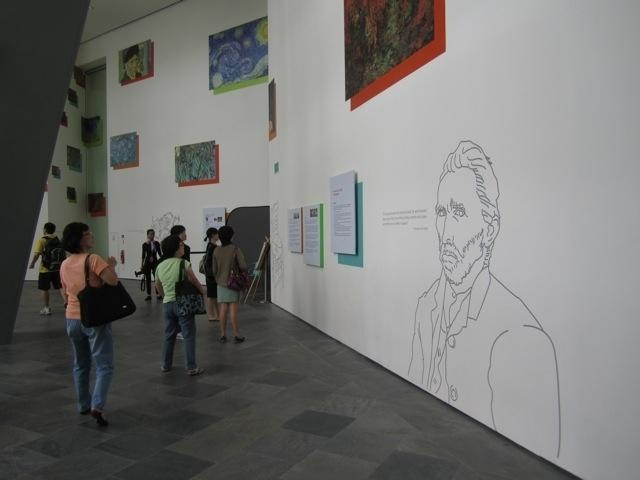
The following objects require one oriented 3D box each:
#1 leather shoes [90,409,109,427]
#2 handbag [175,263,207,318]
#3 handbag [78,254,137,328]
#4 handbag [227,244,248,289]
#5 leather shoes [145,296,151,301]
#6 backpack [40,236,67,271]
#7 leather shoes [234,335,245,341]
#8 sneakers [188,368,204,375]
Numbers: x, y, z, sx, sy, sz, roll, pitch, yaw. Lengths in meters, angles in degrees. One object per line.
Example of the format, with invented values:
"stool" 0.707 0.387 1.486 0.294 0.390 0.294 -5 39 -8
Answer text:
"leather shoes" -2.095 1.700 4.092 0.062 0.150 0.052 -26 5 28
"handbag" -1.611 0.612 5.385 0.385 0.676 0.252 0 1 -1
"handbag" -2.086 0.458 4.144 0.178 0.749 0.484 -15 -4 32
"handbag" -1.314 0.500 6.979 0.329 0.695 0.191 -1 1 -26
"leather shoes" -4.762 1.629 11.984 0.134 0.099 0.264 -1 1 -19
"backpack" -6.024 0.308 9.768 0.559 0.687 0.458 7 4 32
"leather shoes" -1.317 1.640 7.187 0.074 0.093 0.197 10 7 2
"sneakers" -1.573 1.651 5.467 0.069 0.085 0.176 5 6 36
